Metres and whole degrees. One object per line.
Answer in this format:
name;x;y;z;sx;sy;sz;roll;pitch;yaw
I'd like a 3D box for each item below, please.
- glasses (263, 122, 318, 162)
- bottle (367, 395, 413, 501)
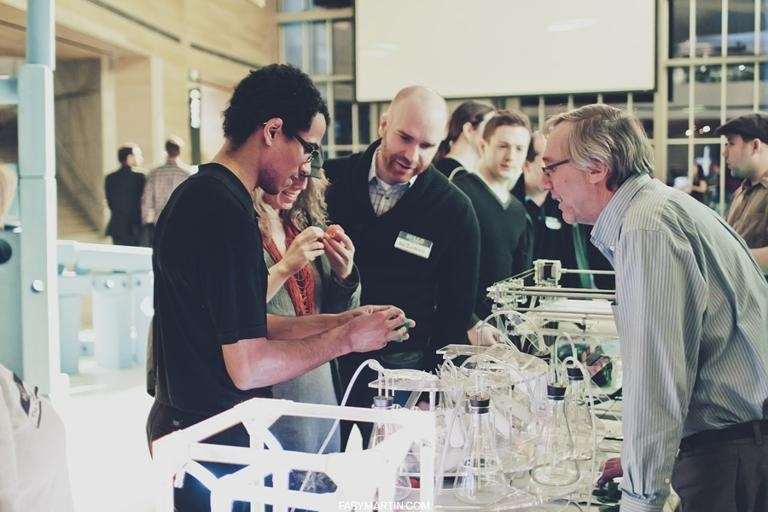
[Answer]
glasses;-0.392;-0.462;4.224;0.161;0.045;0.156;36;8;1
bottle;0.024;0.694;3.558;0.145;0.242;0.377;-3;2;0
